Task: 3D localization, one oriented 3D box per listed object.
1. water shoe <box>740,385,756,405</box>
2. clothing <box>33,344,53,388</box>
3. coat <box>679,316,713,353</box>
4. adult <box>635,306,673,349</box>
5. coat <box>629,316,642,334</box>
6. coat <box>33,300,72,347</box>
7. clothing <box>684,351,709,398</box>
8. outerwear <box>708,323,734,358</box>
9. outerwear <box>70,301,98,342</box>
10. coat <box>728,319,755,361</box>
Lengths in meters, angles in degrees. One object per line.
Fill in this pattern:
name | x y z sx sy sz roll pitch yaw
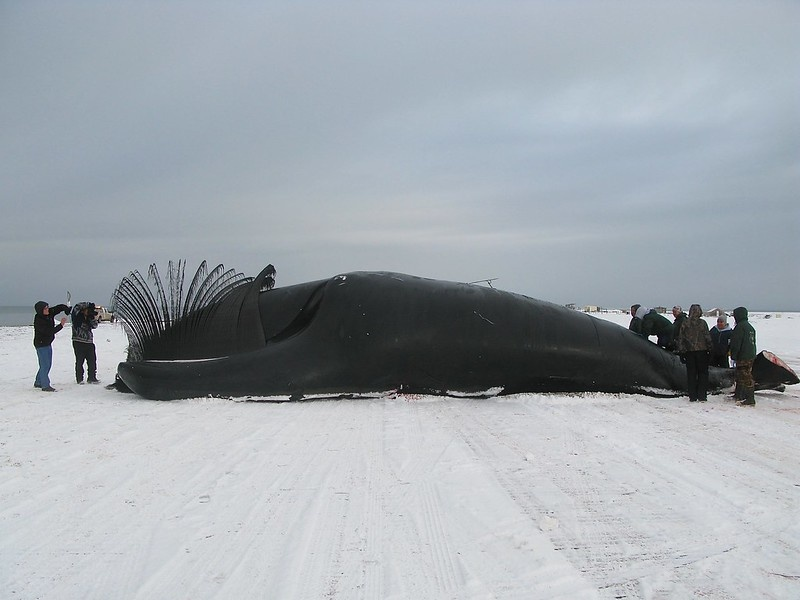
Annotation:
water shoe | 5.740 1.605 9.239 0.199 0.319 0.523 6 12 30
clothing | -6.836 1.324 10.711 0.336 0.855 0.662 -7 13 -34
coat | 5.073 0.641 9.676 0.350 0.703 0.562 -7 8 -40
adult | 5.135 0.704 11.402 0.656 0.998 0.685 7 -8 -41
coat | 4.830 0.547 11.516 0.202 0.427 0.289 -3 5 -18
coat | -8.011 0.662 12.942 0.776 0.748 1.156 -2 -39 -36
clothing | 5.154 1.262 9.796 0.377 1.071 0.302 1 16 33
outerwear | 6.008 0.804 10.511 0.229 0.581 0.507 16 -20 -19
outerwear | -6.509 0.461 11.460 0.330 0.853 0.611 -24 -31 23
coat | 5.681 0.717 9.305 0.466 0.707 0.328 -4 11 -19
